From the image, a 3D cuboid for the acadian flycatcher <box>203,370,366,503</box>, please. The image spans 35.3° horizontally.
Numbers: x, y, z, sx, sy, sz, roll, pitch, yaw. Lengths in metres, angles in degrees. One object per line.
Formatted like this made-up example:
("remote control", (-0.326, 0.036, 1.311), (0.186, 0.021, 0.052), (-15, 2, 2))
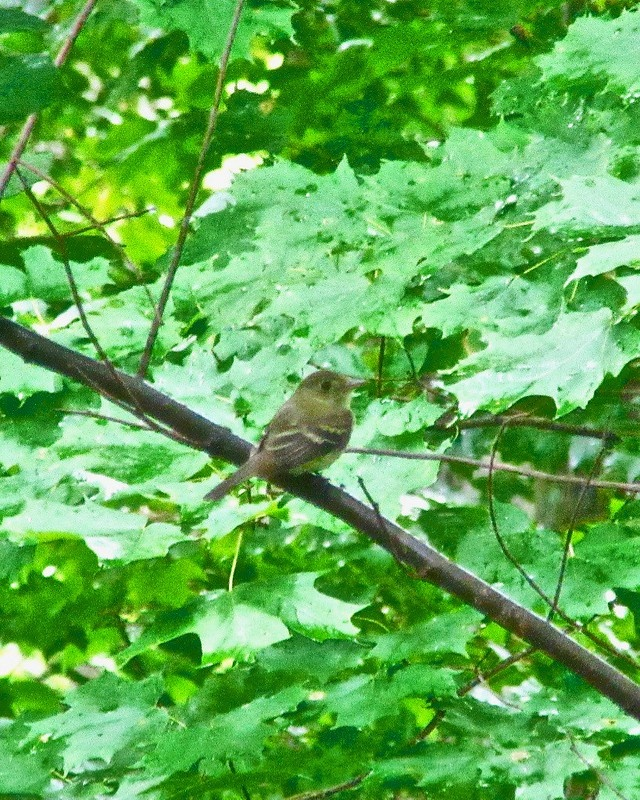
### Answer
("acadian flycatcher", (-0.090, 0.084, 2.375), (0.187, 0.533, 0.215), (19, -58, 39))
